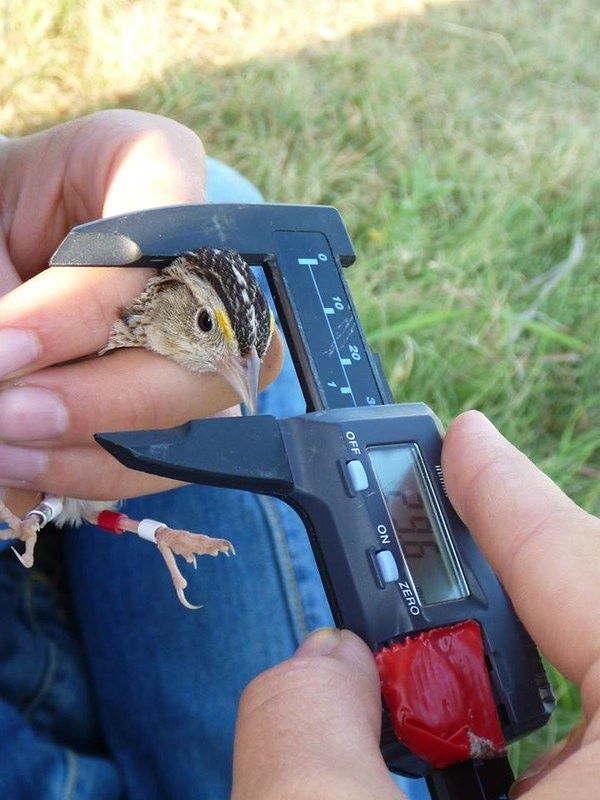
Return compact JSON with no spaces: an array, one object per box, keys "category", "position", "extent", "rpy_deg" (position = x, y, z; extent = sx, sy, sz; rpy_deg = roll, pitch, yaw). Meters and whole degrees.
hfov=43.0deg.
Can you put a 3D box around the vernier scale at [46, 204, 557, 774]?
[{"category":"vernier scale","position":[0.028,0.035,0.826],"extent":[0.398,0.287,0.699],"rpy_deg":[-27,62,-9]}]
